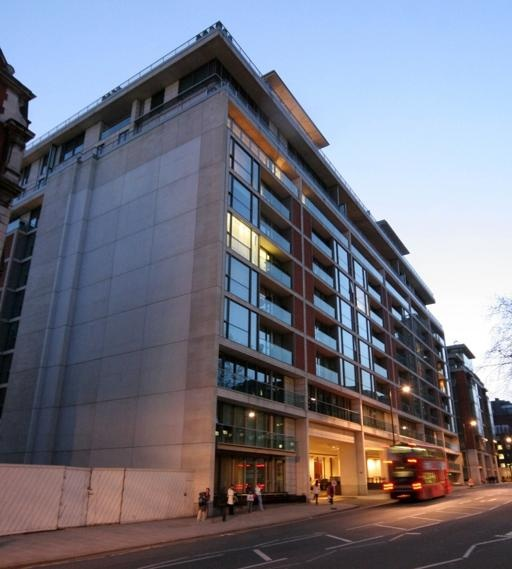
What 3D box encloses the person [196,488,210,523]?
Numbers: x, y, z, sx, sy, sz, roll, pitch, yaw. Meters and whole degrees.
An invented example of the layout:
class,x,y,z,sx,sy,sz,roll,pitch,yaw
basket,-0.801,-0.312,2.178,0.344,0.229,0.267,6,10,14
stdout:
class,x,y,z,sx,sy,sz,roll,pitch,yaw
person,-2.525,10.627,21.976,0.522,1.277,1.381,0,-24,-5
